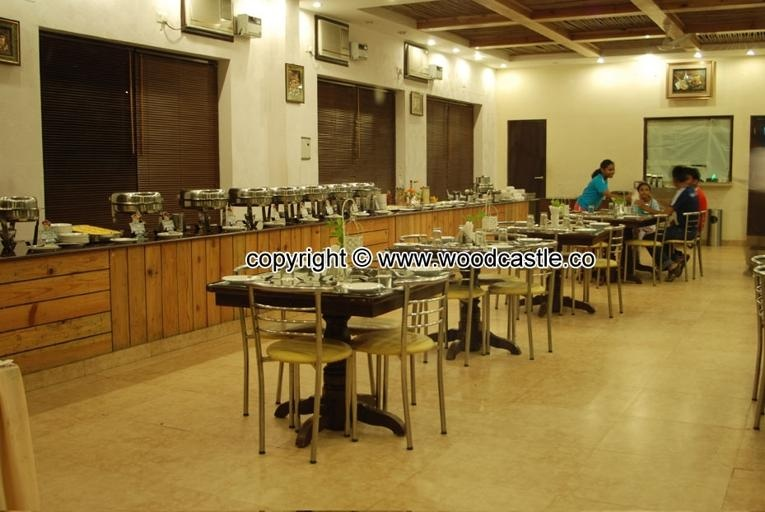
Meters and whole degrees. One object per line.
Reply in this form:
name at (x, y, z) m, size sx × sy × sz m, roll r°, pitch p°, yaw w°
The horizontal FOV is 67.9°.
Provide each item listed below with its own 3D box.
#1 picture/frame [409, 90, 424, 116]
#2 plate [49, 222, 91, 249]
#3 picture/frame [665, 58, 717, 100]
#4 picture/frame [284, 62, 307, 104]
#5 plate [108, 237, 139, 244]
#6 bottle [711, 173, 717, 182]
picture/frame at (0.643, -3.005, 11.209) m, size 0.065 × 0.432 × 0.618 m, roll -1°, pitch 1°, yaw 27°
plate at (-2.808, -0.184, 5.037) m, size 0.314 × 0.117 × 0.219 m, roll 5°, pitch 12°, yaw 40°
picture/frame at (7.039, -4.002, 12.872) m, size 1.038 × 0.830 × 0.109 m, roll 2°, pitch 3°, yaw 23°
picture/frame at (-1.315, -2.530, 8.407) m, size 0.058 × 0.576 × 0.404 m, roll 5°, pitch 11°, yaw 30°
plate at (-2.396, -0.140, 5.266) m, size 0.248 × 0.036 × 0.260 m, roll -4°, pitch 10°, yaw -24°
bottle at (7.544, -1.782, 12.958) m, size 0.189 × 0.178 × 0.179 m, roll 13°, pitch 11°, yaw 30°
